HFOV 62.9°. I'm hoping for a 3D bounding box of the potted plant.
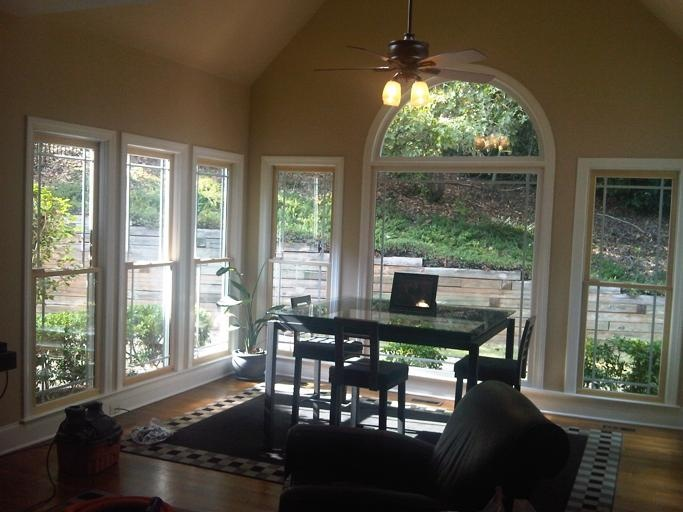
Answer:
[{"bbox_3d":[-1.125,0.735,6.851,1.130,1.711,1.201,0,4,0],"label":"potted plant"}]
